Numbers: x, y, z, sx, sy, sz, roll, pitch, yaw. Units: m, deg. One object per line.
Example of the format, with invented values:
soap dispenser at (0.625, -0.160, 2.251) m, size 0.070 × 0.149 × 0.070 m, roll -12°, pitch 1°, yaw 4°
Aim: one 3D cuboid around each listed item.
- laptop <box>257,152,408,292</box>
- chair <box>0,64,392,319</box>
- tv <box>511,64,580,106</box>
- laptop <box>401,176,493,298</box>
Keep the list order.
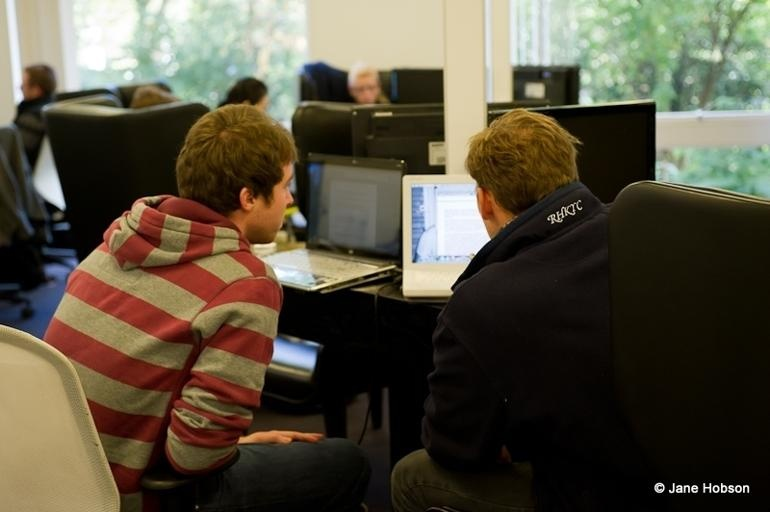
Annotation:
laptop at (-0.107, -0.153, 2.576) m, size 0.629 × 0.487 × 0.450 m, roll 13°, pitch 12°, yaw 37°
chair at (-1.054, -0.438, 3.591) m, size 1.317 × 1.716 × 1.190 m, roll -2°, pitch 11°, yaw -44°
tv at (0.914, -0.988, 3.888) m, size 0.261 × 0.208 × 0.457 m, roll -5°, pitch 16°, yaw -15°
laptop at (0.274, -0.070, 2.237) m, size 0.388 × 0.376 × 0.304 m, roll 1°, pitch 3°, yaw -31°
